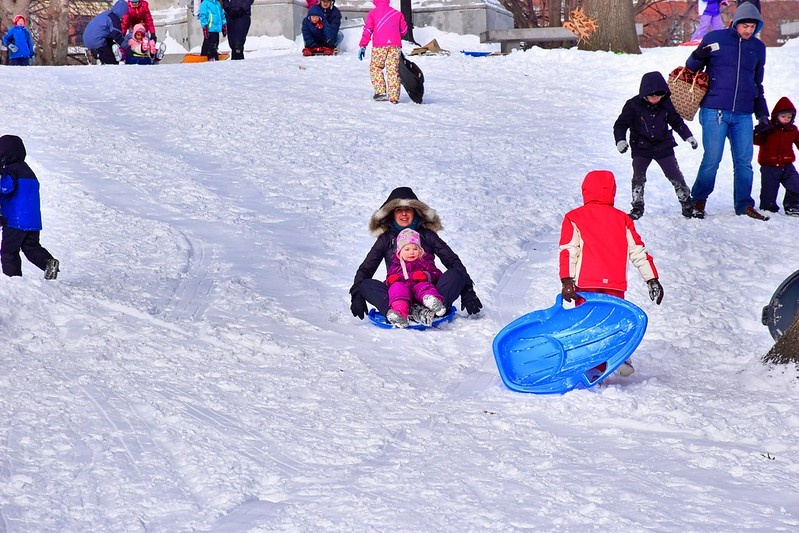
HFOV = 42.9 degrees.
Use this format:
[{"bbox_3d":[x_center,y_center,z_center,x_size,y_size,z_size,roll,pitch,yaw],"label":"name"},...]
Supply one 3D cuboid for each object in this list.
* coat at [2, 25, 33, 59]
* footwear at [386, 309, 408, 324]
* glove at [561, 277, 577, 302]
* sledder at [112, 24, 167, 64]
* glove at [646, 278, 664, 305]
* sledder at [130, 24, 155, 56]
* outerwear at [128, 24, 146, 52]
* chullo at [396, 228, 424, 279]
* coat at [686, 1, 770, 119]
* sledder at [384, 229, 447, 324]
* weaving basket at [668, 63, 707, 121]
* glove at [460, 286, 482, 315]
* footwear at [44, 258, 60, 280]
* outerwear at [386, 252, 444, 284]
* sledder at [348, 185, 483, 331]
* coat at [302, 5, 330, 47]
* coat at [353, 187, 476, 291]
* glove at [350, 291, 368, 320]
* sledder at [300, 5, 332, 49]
[{"bbox_3d":[-8.193,-4.834,21.944,0.482,0.702,0.775,11,17,26],"label":"coat"},{"bbox_3d":[-0.039,0.501,10.182,0.204,0.064,0.129,17,-20,36],"label":"footwear"},{"bbox_3d":[1.524,0.220,9.270,0.174,0.187,0.067,7,-13,13],"label":"glove"},{"bbox_3d":[-5.426,-4.672,21.363,1.102,0.526,1.549,-4,29,-12],"label":"sledder"},{"bbox_3d":[2.307,0.234,9.272,0.137,0.261,0.327,7,16,13],"label":"glove"},{"bbox_3d":[-5.288,-4.641,20.953,0.524,0.333,0.660,-16,50,-32],"label":"sledder"},{"bbox_3d":[-5.375,-4.691,20.912,0.389,0.528,0.218,-8,-10,-12],"label":"outerwear"},{"bbox_3d":[0.072,-0.195,10.642,0.316,0.411,0.480,-2,26,7],"label":"chullo"},{"bbox_3d":[4.053,-2.510,12.471,1.075,1.398,0.558,5,17,8],"label":"coat"},{"bbox_3d":[0.138,0.092,10.507,0.655,0.364,1.032,-8,48,10],"label":"sledder"},{"bbox_3d":[3.615,-2.209,12.630,0.340,0.722,0.577,-20,42,-18],"label":"weaving basket"},{"bbox_3d":[0.710,0.359,10.422,0.252,0.272,0.093,-29,-15,17],"label":"glove"},{"bbox_3d":[-3.455,0.035,10.206,0.109,0.231,0.129,27,-12,-33],"label":"footwear"},{"bbox_3d":[0.131,0.043,10.572,0.619,0.445,0.325,-3,-9,-4],"label":"outerwear"},{"bbox_3d":[0.115,-0.122,10.875,1.337,1.482,0.692,0,36,10],"label":"sledder"},{"bbox_3d":[-1.830,-5.351,22.467,0.618,0.866,0.828,-5,-32,3],"label":"coat"},{"bbox_3d":[0.059,-0.242,10.708,1.472,1.024,0.806,-9,6,-24],"label":"coat"},{"bbox_3d":[-0.415,0.403,10.408,0.116,0.269,0.172,-7,-27,-29],"label":"glove"},{"bbox_3d":[-1.824,-5.315,22.406,0.646,0.859,0.721,-1,-10,1],"label":"sledder"}]
